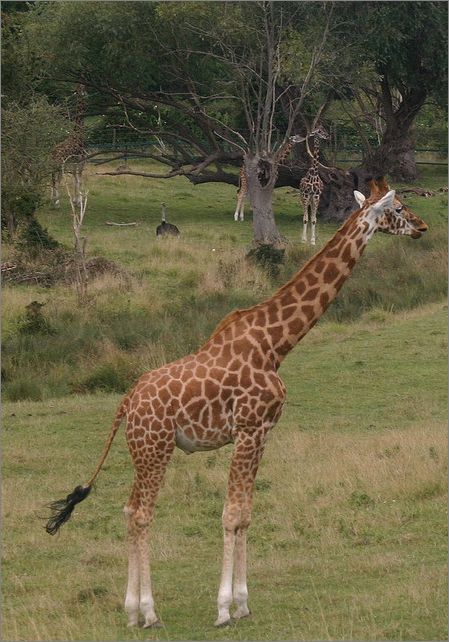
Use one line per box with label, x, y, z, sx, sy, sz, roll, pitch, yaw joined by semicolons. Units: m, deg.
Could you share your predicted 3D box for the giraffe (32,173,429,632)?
giraffe;0.186;0.716;8.910;2.696;3.185;0.954;-13;18;-38
